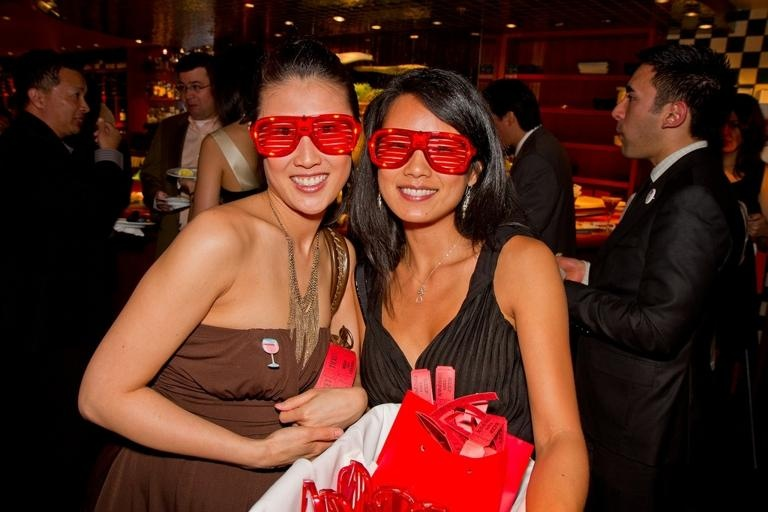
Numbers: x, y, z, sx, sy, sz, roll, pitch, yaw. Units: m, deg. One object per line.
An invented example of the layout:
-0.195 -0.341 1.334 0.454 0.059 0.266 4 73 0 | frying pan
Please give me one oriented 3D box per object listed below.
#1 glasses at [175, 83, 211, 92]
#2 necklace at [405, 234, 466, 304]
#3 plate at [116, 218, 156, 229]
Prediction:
-1.564 -1.427 4.768 0.175 0.056 0.184 2 11 15 | glasses
0.248 0.063 2.662 0.132 0.123 0.421 25 25 12 | necklace
-2.146 -0.286 4.855 0.244 0.061 0.136 4 3 4 | plate
